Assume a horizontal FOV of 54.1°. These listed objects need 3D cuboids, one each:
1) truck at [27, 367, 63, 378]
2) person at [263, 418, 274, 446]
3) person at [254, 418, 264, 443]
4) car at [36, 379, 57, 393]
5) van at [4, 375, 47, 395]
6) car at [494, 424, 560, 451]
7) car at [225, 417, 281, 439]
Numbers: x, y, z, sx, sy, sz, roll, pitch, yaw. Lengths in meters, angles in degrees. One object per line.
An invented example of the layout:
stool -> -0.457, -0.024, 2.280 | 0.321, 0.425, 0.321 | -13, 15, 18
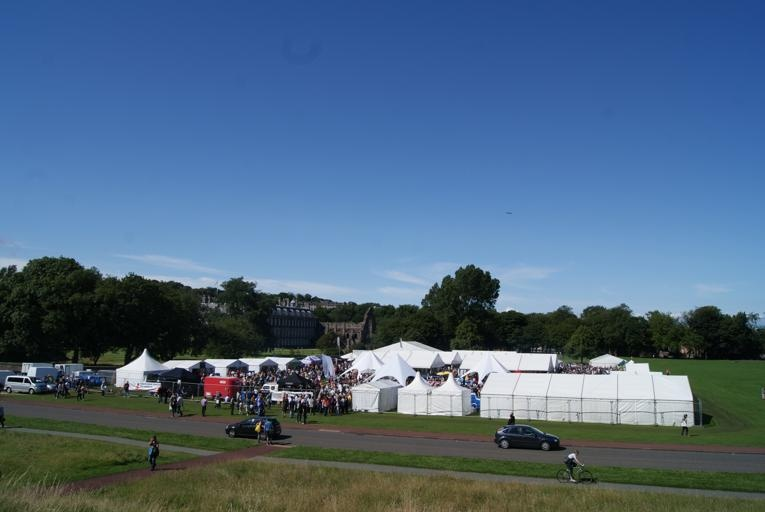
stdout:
truck -> -40.636, 13.921, 89.332 | 2.043, 1.321, 2.743 | 3, -4, -14
person -> -9.764, 14.988, 63.609 | 0.783, 2.126, 1.448 | 3, -11, -8
person -> -10.601, 14.996, 63.995 | 0.622, 1.955, 1.317 | 4, -11, -11
car -> -38.967, 15.104, 86.456 | 2.307, 1.047, 1.372 | -6, -7, 39
van -> -40.693, 14.716, 85.362 | 3.961, 1.514, 2.153 | 0, -4, 11
car -> 12.177, 15.329, 63.111 | 4.910, 1.607, 2.183 | -2, -4, 11
car -> -11.144, 15.111, 65.003 | 4.041, 1.418, 2.172 | 2, -8, 10
